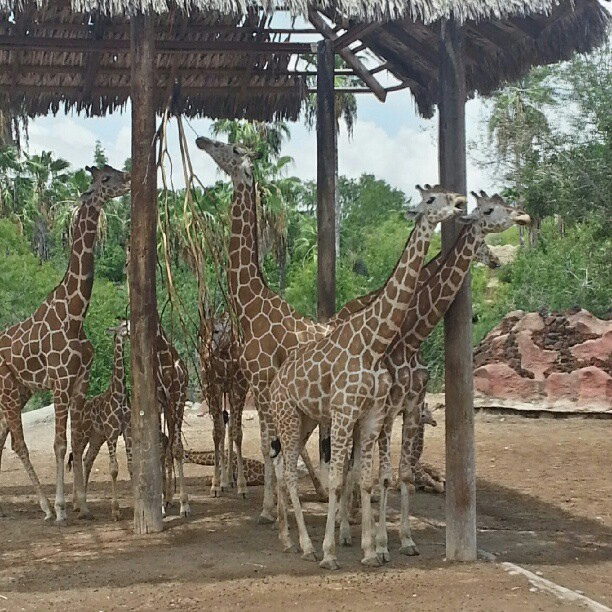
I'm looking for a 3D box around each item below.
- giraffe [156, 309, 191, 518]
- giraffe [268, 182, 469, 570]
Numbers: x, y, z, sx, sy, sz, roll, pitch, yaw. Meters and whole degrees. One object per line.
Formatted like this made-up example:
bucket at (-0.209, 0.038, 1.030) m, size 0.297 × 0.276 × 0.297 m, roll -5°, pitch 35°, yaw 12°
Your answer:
giraffe at (-1.654, 1.346, 14.902) m, size 0.375 × 2.444 × 0.654 m, roll -1°, pitch 2°, yaw -8°
giraffe at (0.512, 0.713, 13.254) m, size 2.179 × 4.078 × 1.387 m, roll 0°, pitch 2°, yaw 14°
